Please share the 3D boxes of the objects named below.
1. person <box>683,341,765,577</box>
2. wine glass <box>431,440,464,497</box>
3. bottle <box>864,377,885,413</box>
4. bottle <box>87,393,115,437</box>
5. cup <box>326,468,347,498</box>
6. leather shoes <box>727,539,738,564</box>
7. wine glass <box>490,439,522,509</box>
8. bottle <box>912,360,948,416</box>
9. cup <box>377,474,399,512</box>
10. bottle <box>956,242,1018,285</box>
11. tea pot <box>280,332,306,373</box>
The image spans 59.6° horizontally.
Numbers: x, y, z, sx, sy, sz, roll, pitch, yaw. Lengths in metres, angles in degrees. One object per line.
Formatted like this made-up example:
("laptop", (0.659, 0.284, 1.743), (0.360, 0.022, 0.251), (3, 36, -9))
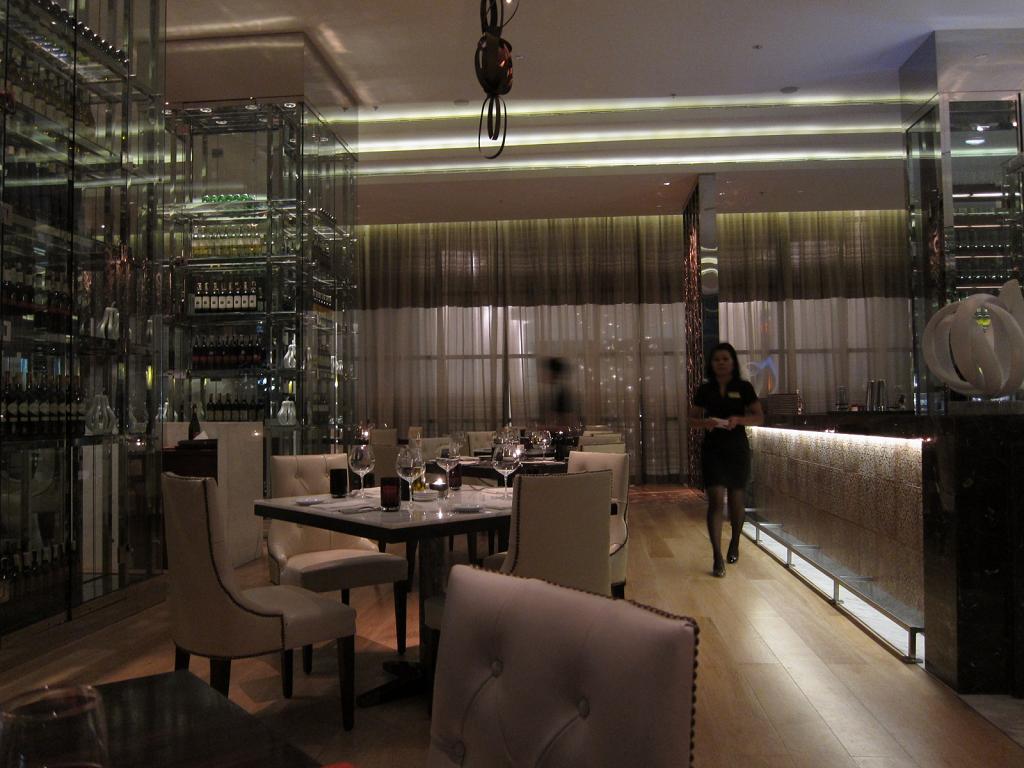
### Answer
("person", (1.763, 0.619, 7.369), (0.549, 1.868, 1.049), (1, 6, 13))
("wine glass", (-0.360, 0.475, 5.134), (0.138, 0.361, 0.146), (-3, 10, -22))
("bottle", (3.707, 0.140, 9.154), (0.150, 0.371, 1.368), (2, 7, 20))
("bottle", (-2.735, 0.206, 5.966), (0.185, 0.318, 0.198), (2, 5, 0))
("cup", (-1.002, 0.567, 5.131), (0.114, 0.217, 0.135), (0, -1, -11))
("leather shoes", (1.841, 1.408, 7.422), (0.066, 0.088, 0.224), (4, 44, 14))
("wine glass", (-0.028, 0.483, 5.226), (0.183, 0.478, 0.198), (12, 16, 37))
("bottle", (2.428, 0.023, 5.186), (0.103, 0.305, 0.426), (1, 6, 10))
("cup", (-0.640, 0.596, 4.785), (0.123, 0.224, 0.147), (-2, -4, 23))
("bottle", (3.026, -0.765, 5.722), (0.284, 0.280, 0.044), (3, -17, -9))
("tea pot", (-2.041, -0.292, 8.244), (0.168, 0.328, 0.071), (-1, 5, -5))
